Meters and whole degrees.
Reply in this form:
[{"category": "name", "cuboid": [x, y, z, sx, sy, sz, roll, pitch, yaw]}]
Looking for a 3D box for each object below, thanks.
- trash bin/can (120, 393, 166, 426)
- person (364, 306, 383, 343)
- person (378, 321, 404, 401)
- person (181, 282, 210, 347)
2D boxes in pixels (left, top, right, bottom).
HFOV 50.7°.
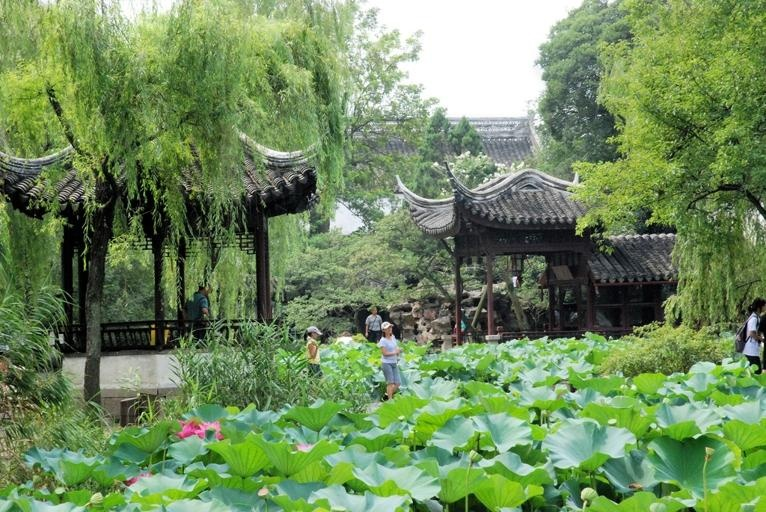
[{"category": "trash bin/can", "cuboid": [-2.892, 1.874, 9.750, 0.507, 0.390, 0.308, -6, -15, 22]}, {"category": "person", "cuboid": [-0.167, 1.628, 17.704, 0.409, 1.086, 0.266, -2, 27, -2]}, {"category": "person", "cuboid": [0.102, 1.400, 10.792, 0.241, 1.016, 0.565, -5, -7, 0]}, {"category": "person", "cuboid": [-2.504, 0.779, 10.981, 0.320, 0.779, 0.835, -3, -8, -13]}]
